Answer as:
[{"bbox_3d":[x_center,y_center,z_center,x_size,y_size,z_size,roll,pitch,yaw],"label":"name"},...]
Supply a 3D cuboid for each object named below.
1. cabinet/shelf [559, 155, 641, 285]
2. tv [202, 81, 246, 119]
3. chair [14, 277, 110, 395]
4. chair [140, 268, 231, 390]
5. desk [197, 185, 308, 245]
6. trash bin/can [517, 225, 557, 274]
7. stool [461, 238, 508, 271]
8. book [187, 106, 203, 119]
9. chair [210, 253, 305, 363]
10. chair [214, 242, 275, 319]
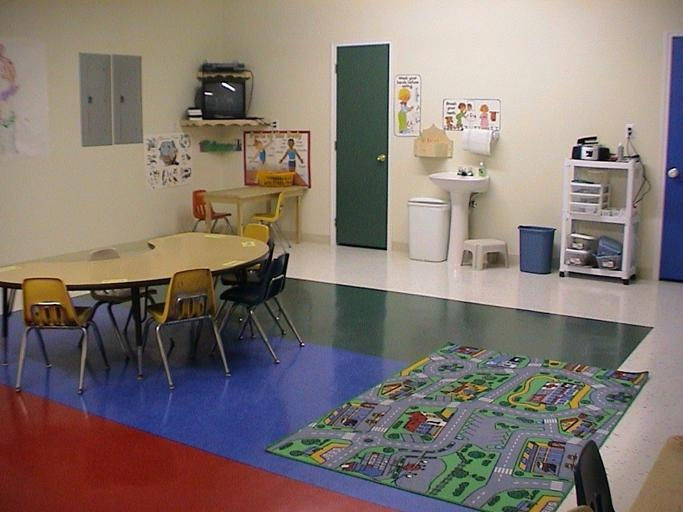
[{"bbox_3d":[3.234,-0.483,6.552,0.941,1.485,0.535,8,16,31],"label":"cabinet/shelf"},{"bbox_3d":[-1.807,-2.490,8.498,0.792,0.782,0.458,4,10,18],"label":"tv"},{"bbox_3d":[-2.150,0.542,4.027,0.481,0.825,0.607,0,5,-8],"label":"chair"},{"bbox_3d":[-1.322,0.452,4.270,0.674,0.876,0.931,-6,15,-23],"label":"chair"},{"bbox_3d":[-1.376,-0.938,7.997,0.847,1.113,1.671,8,17,28],"label":"desk"},{"bbox_3d":[2.549,-0.079,6.936,0.454,0.563,0.364,-1,-11,33],"label":"trash bin/can"},{"bbox_3d":[1.925,-0.085,7.019,0.459,0.303,0.462,-6,13,-21],"label":"stool"},{"bbox_3d":[-2.324,-2.235,8.198,0.189,0.270,0.267,2,17,7],"label":"book"},{"bbox_3d":[-0.747,0.408,4.624,0.734,0.910,0.668,4,13,5],"label":"chair"},{"bbox_3d":[-0.822,0.322,4.638,0.450,0.731,0.418,10,12,4],"label":"chair"}]
